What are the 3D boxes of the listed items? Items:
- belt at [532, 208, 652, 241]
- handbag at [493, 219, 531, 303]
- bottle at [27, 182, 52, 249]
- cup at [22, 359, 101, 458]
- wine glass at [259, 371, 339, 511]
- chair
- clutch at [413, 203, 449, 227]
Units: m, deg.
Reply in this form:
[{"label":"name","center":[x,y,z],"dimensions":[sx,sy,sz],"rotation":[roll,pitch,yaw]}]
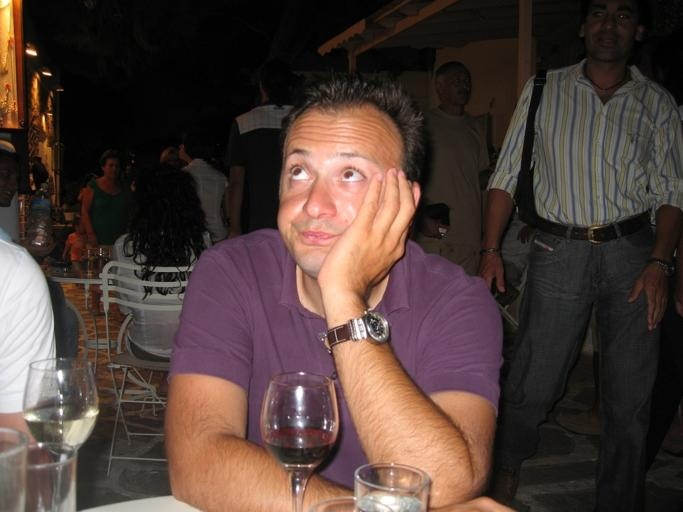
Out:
[{"label":"belt","center":[1.404,-0.174,3.320],"dimensions":[0.627,0.196,0.241],"rotation":[5,4,22]},{"label":"handbag","center":[1.438,0.032,4.872],"dimensions":[0.246,0.747,1.440],"rotation":[4,4,17]},{"label":"bottle","center":[-2.368,-0.289,4.600],"dimensions":[0.170,0.452,0.281],"rotation":[1,4,-28]},{"label":"cup","center":[-0.819,0.443,1.713],"dimensions":[0.191,0.225,0.131],"rotation":[1,4,-28]},{"label":"wine glass","center":[-0.131,0.537,1.677],"dimensions":[0.204,0.381,0.199],"rotation":[2,4,-24]},{"label":"chair","center":[-1.584,0.670,4.617],"dimensions":[0.617,1.335,2.159],"rotation":[2,4,-22]},{"label":"clutch","center":[0.749,-0.347,4.750],"dimensions":[0.237,0.181,0.427],"rotation":[4,3,5]}]
